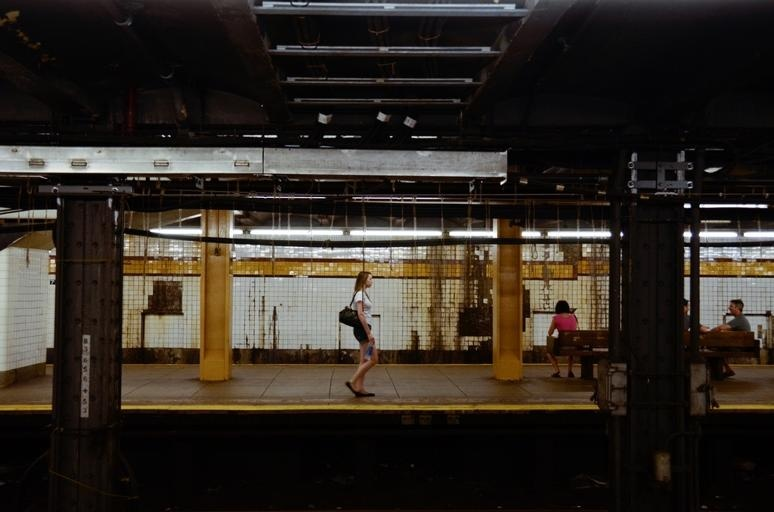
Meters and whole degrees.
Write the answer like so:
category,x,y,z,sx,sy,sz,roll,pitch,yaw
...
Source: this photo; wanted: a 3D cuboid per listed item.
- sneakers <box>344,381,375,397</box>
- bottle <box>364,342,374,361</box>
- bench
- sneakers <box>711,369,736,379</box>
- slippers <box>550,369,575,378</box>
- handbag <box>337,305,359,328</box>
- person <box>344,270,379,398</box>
category,x,y,z,sx,sy,sz,roll,pitch,yaw
sneakers,-0.480,2.498,17.787,0.722,0.275,0.209,0,-5,-1
bottle,-0.374,1.762,17.583,0.185,0.312,0.085,-1,-3,33
bench,5.481,2.033,19.585,4.087,1.023,0.898,1,-2,-8
sneakers,6.866,2.436,19.728,0.511,0.173,0.147,-12,8,-8
slippers,3.615,2.450,19.921,0.499,0.177,0.168,1,-6,-1
handbag,-0.728,1.127,17.660,0.288,0.365,0.485,1,-3,-25
person,-0.503,1.446,17.972,0.557,2.310,1.125,0,-3,-1
